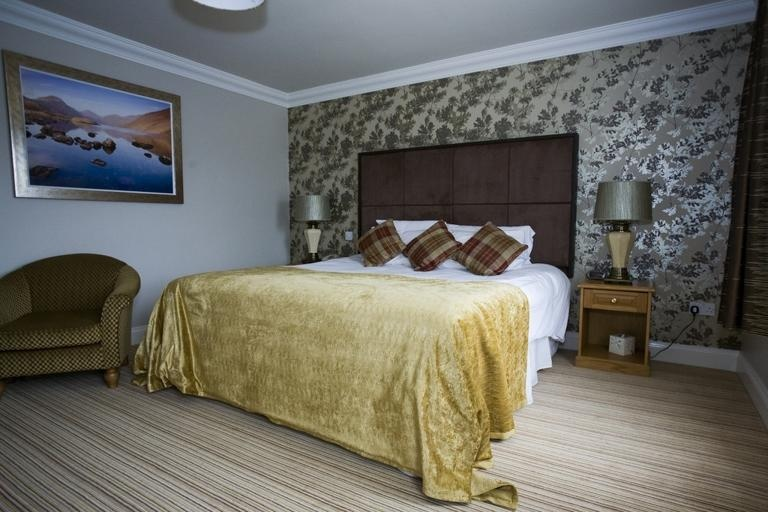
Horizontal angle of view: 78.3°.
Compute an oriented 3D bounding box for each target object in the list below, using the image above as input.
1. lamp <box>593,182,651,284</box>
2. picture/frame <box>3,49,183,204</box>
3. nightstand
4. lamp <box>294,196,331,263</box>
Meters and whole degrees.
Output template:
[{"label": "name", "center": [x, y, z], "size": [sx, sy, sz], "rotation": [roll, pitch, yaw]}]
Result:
[{"label": "lamp", "center": [2.363, -0.259, 4.669], "size": [0.570, 0.991, 0.378], "rotation": [-2, 6, -20]}, {"label": "picture/frame", "center": [-3.123, -1.362, 4.945], "size": [0.031, 1.436, 1.804], "rotation": [-1, -2, 37]}, {"label": "nightstand", "center": [2.304, 0.673, 4.731], "size": [0.644, 0.866, 0.559], "rotation": [3, 6, 29]}, {"label": "lamp", "center": [-0.952, -0.364, 6.281], "size": [0.512, 0.832, 0.524], "rotation": [0, 0, 27]}]
